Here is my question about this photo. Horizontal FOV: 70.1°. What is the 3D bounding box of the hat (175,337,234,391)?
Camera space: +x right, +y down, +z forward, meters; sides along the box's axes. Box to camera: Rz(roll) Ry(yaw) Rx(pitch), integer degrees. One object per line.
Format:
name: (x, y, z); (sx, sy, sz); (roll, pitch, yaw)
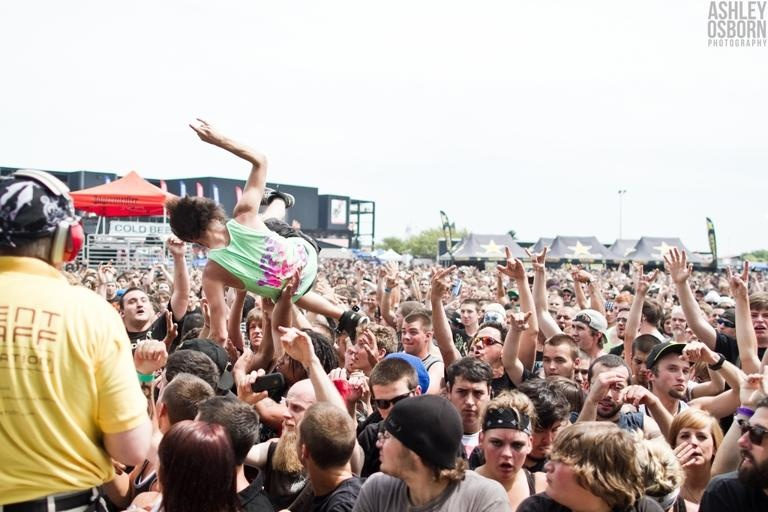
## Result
hat: (-1.661, 1.032, 5.189); (0.455, 0.386, 0.676); (5, -4, -19)

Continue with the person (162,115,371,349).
person: (-1.315, -0.107, 5.787); (1.849, 1.654, 1.171); (6, -4, -24)

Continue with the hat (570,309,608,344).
hat: (2.827, 0.897, 7.341); (0.555, 0.300, 0.384); (32, -1, -29)

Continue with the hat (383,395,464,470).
hat: (0.288, 1.008, 3.454); (0.455, 0.373, 0.337); (25, 7, 16)
